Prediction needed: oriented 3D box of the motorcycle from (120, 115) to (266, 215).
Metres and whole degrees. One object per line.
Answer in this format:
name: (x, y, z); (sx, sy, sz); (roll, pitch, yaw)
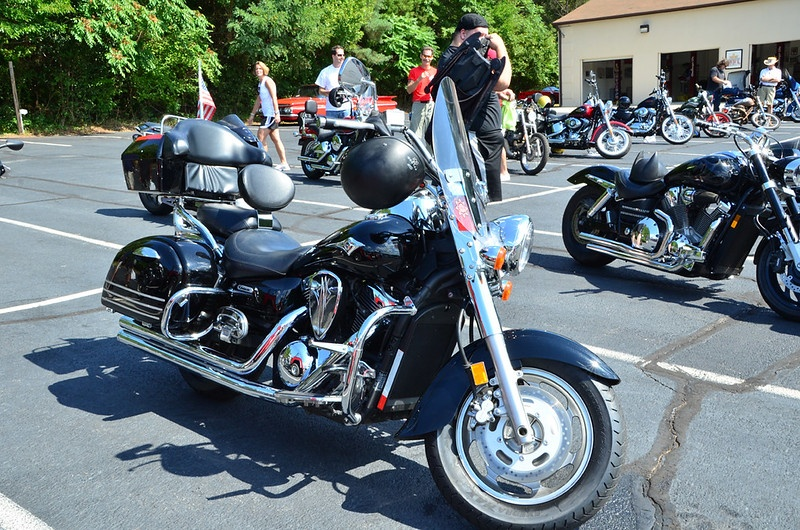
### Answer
motorcycle: (-1.711, -0.874, 5.192); (1.514, 0.945, 0.658); (6, 2, 13)

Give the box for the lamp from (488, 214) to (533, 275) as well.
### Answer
lamp: (0.607, -0.114, 3.153); (0.251, 0.308, 0.188); (-6, 15, -23)

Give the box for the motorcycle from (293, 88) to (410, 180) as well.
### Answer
motorcycle: (-1.192, -2.690, 11.620); (1.630, 2.151, 3.150); (-7, 17, -40)

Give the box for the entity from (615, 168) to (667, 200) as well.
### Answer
entity: (2.649, -0.883, 6.497); (0.352, 0.142, 0.275); (3, 58, 36)

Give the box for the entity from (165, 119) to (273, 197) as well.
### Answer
entity: (-1.770, -0.842, 5.032); (0.772, 0.560, 1.037); (1, -1, -39)

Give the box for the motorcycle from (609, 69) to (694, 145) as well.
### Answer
motorcycle: (7.480, -4.819, 17.772); (1.488, 1.916, 2.883); (-17, 26, -40)

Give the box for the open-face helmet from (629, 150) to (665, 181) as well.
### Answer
open-face helmet: (2.846, -1.119, 6.622); (0.293, 0.268, 0.408); (14, 28, 35)

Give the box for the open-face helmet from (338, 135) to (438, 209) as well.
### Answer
open-face helmet: (-0.141, -0.498, 3.250); (0.390, 0.363, 0.470); (8, 8, 35)

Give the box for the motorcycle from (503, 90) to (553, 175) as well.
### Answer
motorcycle: (2.928, -3.253, 14.060); (1.090, 1.742, 2.837); (-2, 21, -8)

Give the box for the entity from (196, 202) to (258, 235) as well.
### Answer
entity: (-1.284, -0.353, 4.302); (0.282, 0.110, 0.295); (9, 13, 10)

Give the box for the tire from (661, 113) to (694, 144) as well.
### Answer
tire: (8.397, -4.103, 17.734); (0.930, 0.986, 0.955); (-3, 34, 8)
